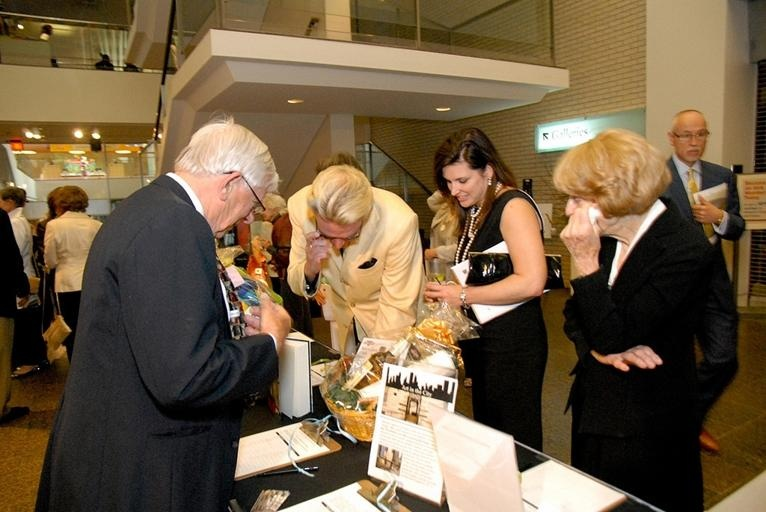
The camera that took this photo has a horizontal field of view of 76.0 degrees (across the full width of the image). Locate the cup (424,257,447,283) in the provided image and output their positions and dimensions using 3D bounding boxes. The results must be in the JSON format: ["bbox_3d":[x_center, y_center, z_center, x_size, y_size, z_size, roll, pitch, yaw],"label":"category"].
[{"bbox_3d":[0.258,0.072,2.394,0.106,0.118,0.111,-3,8,0],"label":"cup"}]

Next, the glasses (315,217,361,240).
[{"bbox_3d":[-0.220,-0.137,2.475,0.122,0.052,0.162,5,26,0],"label":"glasses"}]

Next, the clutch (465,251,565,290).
[{"bbox_3d":[0.526,0.055,2.291,0.373,0.166,0.106,-8,28,-41],"label":"clutch"}]

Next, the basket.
[{"bbox_3d":[-0.137,0.571,1.989,0.284,0.264,0.259,-1,1,19],"label":"basket"}]

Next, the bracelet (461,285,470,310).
[{"bbox_3d":[0.367,0.196,2.240,0.049,0.089,0.089,7,40,8],"label":"bracelet"}]

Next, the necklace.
[{"bbox_3d":[0.434,-0.150,2.428,0.040,0.348,0.266,14,27,1],"label":"necklace"}]

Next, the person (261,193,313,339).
[{"bbox_3d":[-0.951,0.133,4.769,0.485,1.535,0.454,-7,19,-10],"label":"person"}]

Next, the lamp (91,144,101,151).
[{"bbox_3d":[-6.440,-2.410,10.927,0.195,0.191,0.052,1,16,-17],"label":"lamp"}]
